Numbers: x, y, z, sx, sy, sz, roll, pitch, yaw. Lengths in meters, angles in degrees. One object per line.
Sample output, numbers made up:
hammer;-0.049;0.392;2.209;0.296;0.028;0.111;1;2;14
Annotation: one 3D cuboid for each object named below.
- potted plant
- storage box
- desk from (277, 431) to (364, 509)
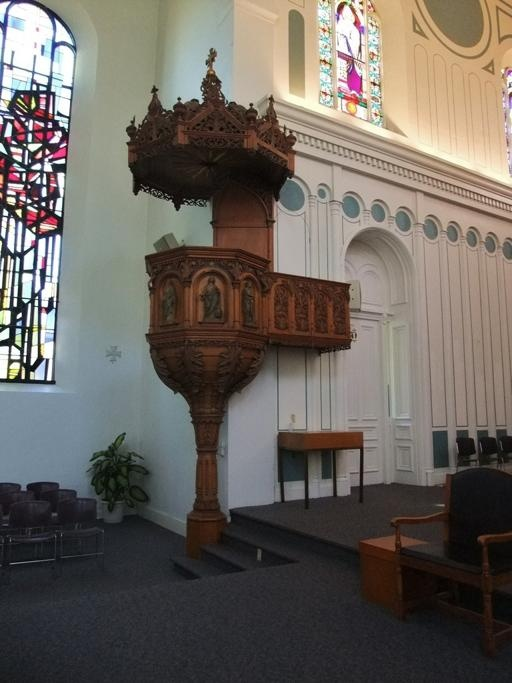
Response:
potted plant;-1.869;1.875;7.853;0.805;1.170;0.827;1;-4;-20
storage box;0.905;1.466;3.651;0.395;0.353;0.406;-7;-7;42
desk;0.733;1.411;6.427;0.982;0.828;0.680;2;-4;-35
